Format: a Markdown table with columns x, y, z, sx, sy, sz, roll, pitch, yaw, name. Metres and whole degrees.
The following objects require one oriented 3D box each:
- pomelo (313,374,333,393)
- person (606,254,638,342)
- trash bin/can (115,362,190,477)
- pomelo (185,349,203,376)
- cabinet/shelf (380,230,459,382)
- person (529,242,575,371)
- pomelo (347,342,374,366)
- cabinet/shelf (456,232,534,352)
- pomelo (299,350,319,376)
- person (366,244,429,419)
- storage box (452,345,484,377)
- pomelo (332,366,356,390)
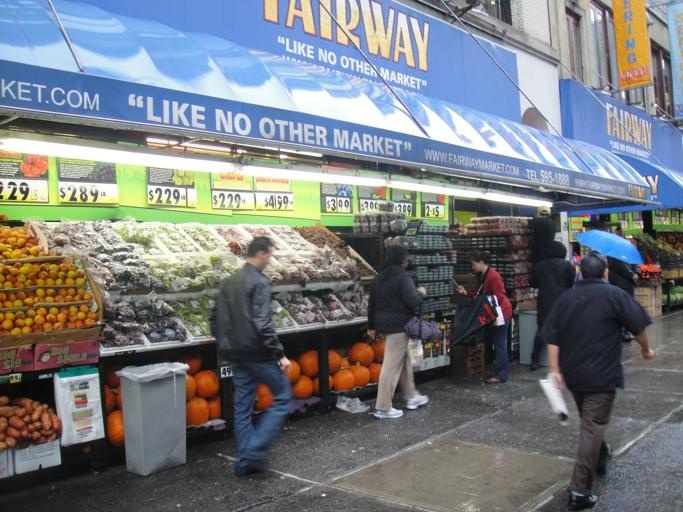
| x | y | z | sx | sy | sz | roll | pitch | yaw | name |
| --- | --- | --- | --- | --- | --- | --- | --- | --- | --- |
| -0.298 | 1.831 | 7.804 | 0.248 | 0.239 | 0.242 | 1 | -16 | -37 | pomelo |
| 6.244 | 0.721 | 11.947 | 0.564 | 2.279 | 0.717 | -4 | -13 | 31 | person |
| -2.093 | 1.669 | 5.944 | 0.635 | 1.192 | 0.665 | -2 | 0 | -35 | trash bin/can |
| -1.879 | 1.353 | 6.804 | 0.211 | 0.273 | 0.218 | 4 | 2 | -4 | pomelo |
| 1.512 | 0.734 | 9.554 | 1.170 | 2.528 | 1.116 | -1 | 8 | -34 | cabinet/shelf |
| 3.738 | 0.827 | 9.495 | 0.735 | 2.283 | 0.648 | -1 | 2 | 30 | person |
| 0.291 | 1.505 | 8.474 | 0.327 | 0.343 | 0.323 | -2 | 5 | -32 | pomelo |
| 3.169 | 0.267 | 11.239 | 1.073 | 3.271 | 0.949 | -1 | -1 | -40 | cabinet/shelf |
| -0.474 | 1.524 | 7.696 | 0.290 | 0.308 | 0.305 | 11 | 39 | 15 | pomelo |
| 0.808 | 1.069 | 7.753 | 0.849 | 2.396 | 1.005 | 0 | -1 | 41 | person |
| 2.265 | 1.894 | 9.728 | 0.401 | 0.547 | 0.583 | -3 | -6 | 37 | storage box |
| 0.028 | 1.821 | 7.893 | 0.281 | 0.301 | 0.281 | -7 | 7 | -21 | pomelo |
